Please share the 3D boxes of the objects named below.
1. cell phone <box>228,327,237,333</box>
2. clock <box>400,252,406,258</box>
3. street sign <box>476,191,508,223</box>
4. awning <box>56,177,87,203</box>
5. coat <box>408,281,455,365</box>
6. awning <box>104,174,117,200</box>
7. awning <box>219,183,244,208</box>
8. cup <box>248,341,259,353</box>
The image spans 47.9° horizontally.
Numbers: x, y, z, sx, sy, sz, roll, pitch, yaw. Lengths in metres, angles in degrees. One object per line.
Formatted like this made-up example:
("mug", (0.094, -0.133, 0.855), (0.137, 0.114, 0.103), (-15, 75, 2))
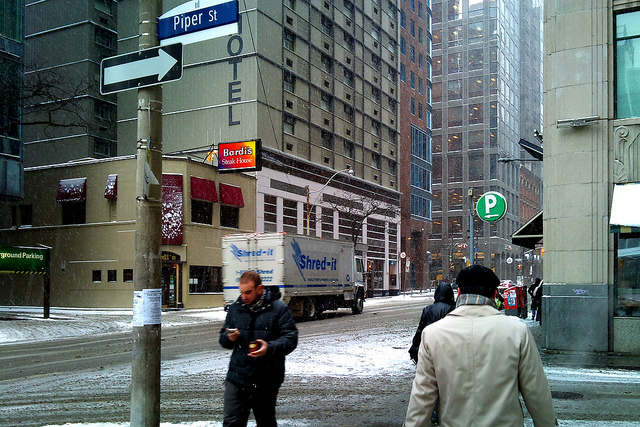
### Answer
("cell phone", (-1.790, 2.409, 14.872), (0.181, 0.104, 0.167), (-2, -8, 3))
("clock", (7.233, 3.761, 62.447), (0.592, 0.675, 0.172), (14, 15, 28))
("street sign", (7.376, -0.302, 30.936), (1.129, 1.323, 1.313), (-4, -8, 20))
("awning", (-16.089, -1.540, 47.068), (2.216, 1.620, 0.541), (-6, -8, 30))
("coat", (2.755, 3.205, 17.268), (1.094, 2.851, 0.880), (9, -9, 1))
("awning", (-13.067, -1.719, 45.345), (0.816, 1.525, 0.466), (-4, -7, 23))
("awning", (-6.002, -1.182, 48.426), (0.382, 1.445, 2.346), (-7, -10, 34))
("cup", (-1.344, 2.700, 14.623), (0.176, 0.189, 0.183), (-4, -10, -1))
